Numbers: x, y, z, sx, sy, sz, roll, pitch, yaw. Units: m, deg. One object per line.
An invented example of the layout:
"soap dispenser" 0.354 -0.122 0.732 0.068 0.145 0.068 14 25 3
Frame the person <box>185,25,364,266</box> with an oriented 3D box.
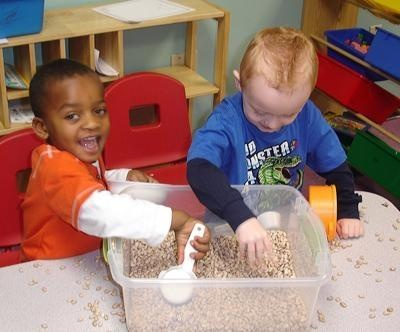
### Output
"person" 0.243 0.023 1.116 0.426 0.815 0.537 1 42 9
